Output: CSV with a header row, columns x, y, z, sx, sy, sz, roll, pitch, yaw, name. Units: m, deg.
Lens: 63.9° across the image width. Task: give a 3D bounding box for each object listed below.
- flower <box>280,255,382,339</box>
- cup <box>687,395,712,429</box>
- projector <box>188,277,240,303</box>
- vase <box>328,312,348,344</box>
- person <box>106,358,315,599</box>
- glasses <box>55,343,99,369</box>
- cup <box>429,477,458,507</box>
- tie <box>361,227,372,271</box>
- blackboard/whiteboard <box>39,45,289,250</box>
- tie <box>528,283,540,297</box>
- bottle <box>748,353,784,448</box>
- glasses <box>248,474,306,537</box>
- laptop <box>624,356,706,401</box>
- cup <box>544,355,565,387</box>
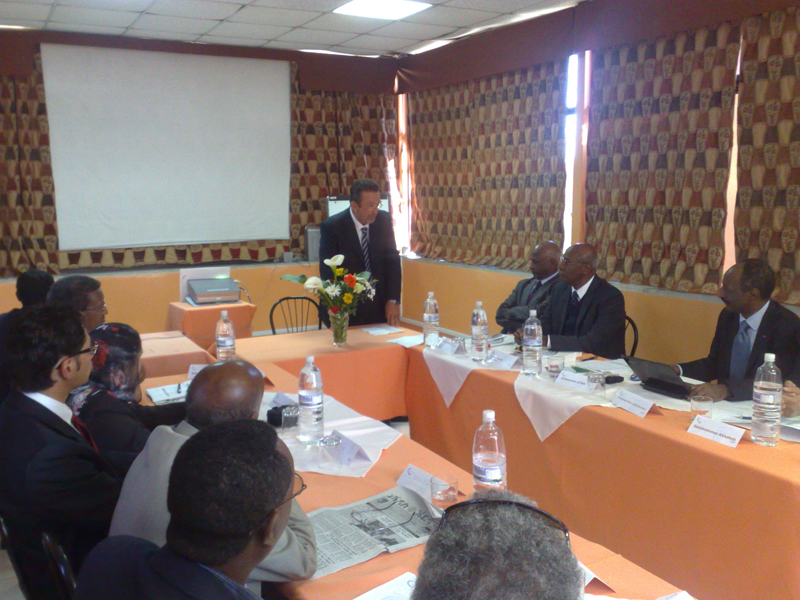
x,y,z,sx,sy,sz,roll,pitch,yaw,name
-0.419,-0.021,4.080,0.546,0.578,0.519,-1,2,-37,flower
1.232,0.465,2.676,0.072,0.130,0.122,0,-2,-3,cup
-1.544,-0.081,5.293,0.409,0.202,0.252,-6,9,-22,projector
-0.376,0.170,4.097,0.150,0.265,0.157,-1,5,-2,vase
-0.564,0.528,1.888,0.376,0.764,0.371,22,27,37,person
-1.141,0.182,2.269,0.108,0.035,0.106,-20,6,-18,glasses
0.146,0.668,2.242,0.080,0.086,0.081,1,6,0,cup
-0.236,-0.387,4.567,0.048,0.372,0.051,2,-1,-8,tie
-2.609,-1.677,6.830,2.019,1.658,0.018,-4,6,-27,blackboard/whiteboard
0.919,-0.074,4.431,0.060,0.016,0.059,-35,-4,-11,tie
1.486,0.378,2.601,0.107,0.319,0.324,3,10,31,bottle
-0.399,0.608,2.057,0.180,0.056,0.183,-38,12,-11,glasses
1.254,0.333,3.019,0.205,0.140,0.211,0,7,-36,laptop
0.791,0.348,3.317,0.106,0.195,0.113,0,1,0,cup
